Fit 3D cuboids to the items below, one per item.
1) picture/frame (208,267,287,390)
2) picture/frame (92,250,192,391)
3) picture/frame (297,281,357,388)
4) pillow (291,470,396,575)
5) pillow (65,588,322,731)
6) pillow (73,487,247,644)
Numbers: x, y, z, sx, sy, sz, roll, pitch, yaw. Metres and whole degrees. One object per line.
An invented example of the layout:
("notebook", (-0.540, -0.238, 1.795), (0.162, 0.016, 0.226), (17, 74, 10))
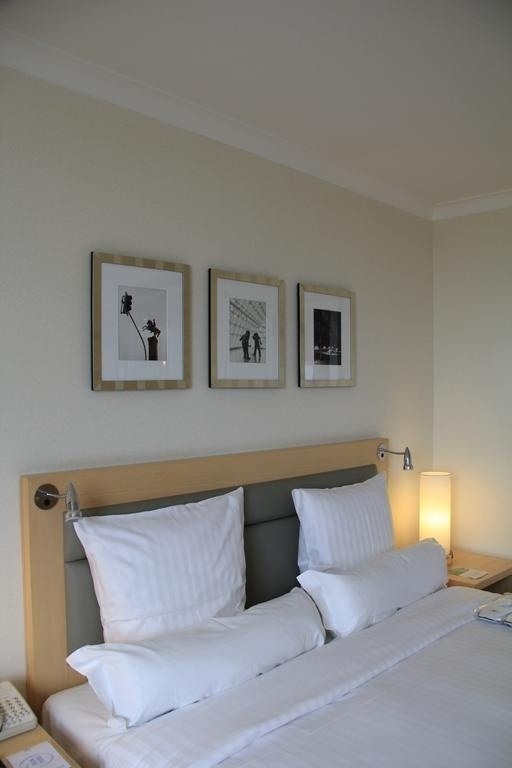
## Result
("picture/frame", (-0.049, -0.218, 2.237), (0.018, 0.555, 0.404), (3, 6, 39))
("picture/frame", (-0.395, -0.208, 1.880), (0.018, 0.370, 0.362), (3, 15, 37))
("picture/frame", (0.312, -0.227, 2.606), (0.018, 0.565, 0.410), (3, 5, 42))
("pillow", (0.336, 0.570, 2.275), (0.323, 0.290, 0.110), (1, -10, -43))
("pillow", (-0.138, 0.746, 1.584), (0.735, 0.150, 0.232), (2, -2, -37))
("pillow", (-0.299, 0.547, 1.659), (0.385, 0.307, 0.099), (4, -24, -46))
